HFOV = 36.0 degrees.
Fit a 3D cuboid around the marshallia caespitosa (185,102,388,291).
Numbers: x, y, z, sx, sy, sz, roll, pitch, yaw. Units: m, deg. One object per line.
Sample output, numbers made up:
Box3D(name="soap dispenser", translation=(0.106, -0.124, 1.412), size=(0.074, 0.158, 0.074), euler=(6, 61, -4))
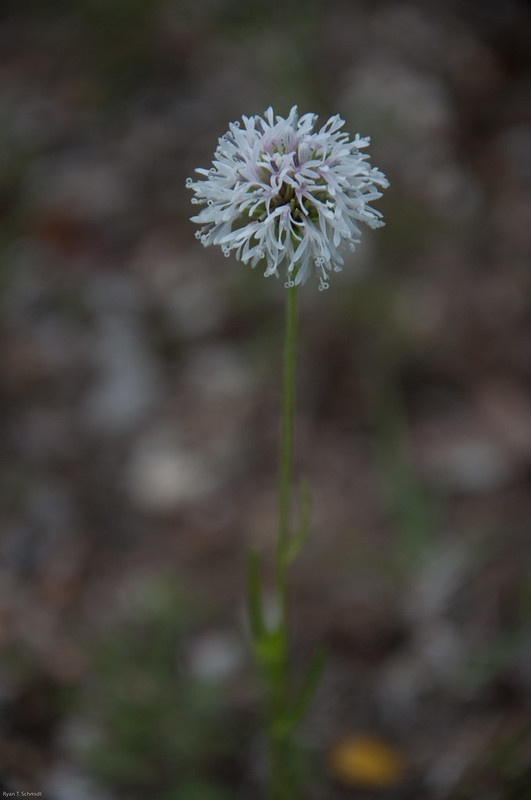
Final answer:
Box3D(name="marshallia caespitosa", translation=(0.012, -0.123, 0.439), size=(0.079, 0.061, 0.068), euler=(-25, 33, -10))
